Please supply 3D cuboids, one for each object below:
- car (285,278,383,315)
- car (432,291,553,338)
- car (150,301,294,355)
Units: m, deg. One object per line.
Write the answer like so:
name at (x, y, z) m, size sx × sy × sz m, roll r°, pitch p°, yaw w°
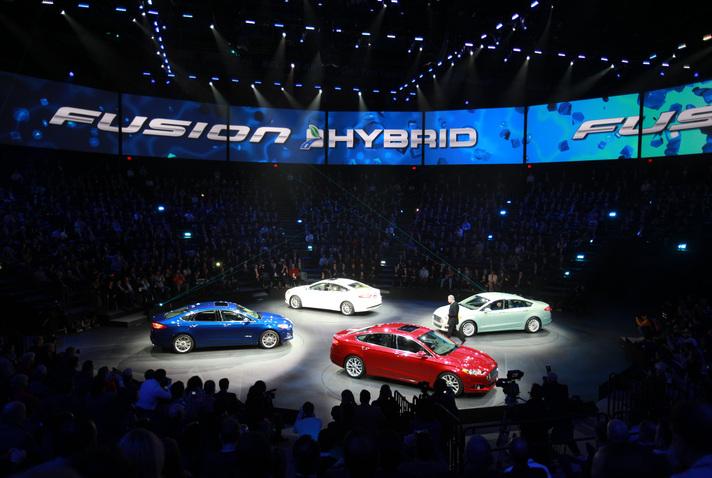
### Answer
car at (-1.113, 2.732, 22.566) m, size 4.310 × 1.316 × 1.835 m, roll 4°, pitch 5°, yaw 20°
car at (5.763, 3.160, 19.687) m, size 4.181 × 1.329 × 2.026 m, roll 1°, pitch 1°, yaw -9°
car at (-5.059, 3.304, 17.737) m, size 4.743 × 1.385 × 2.166 m, roll -1°, pitch 2°, yaw -10°
